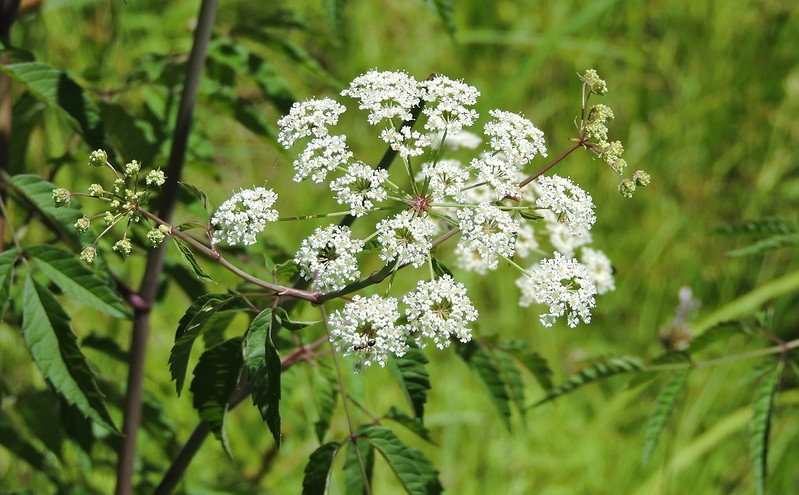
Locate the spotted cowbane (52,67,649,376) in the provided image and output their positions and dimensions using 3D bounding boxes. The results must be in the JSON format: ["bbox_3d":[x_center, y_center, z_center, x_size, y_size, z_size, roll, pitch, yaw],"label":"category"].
[{"bbox_3d":[-0.103,-0.092,2.965,1.746,0.784,1.014,-4,94,-3],"label":"spotted cowbane"}]
